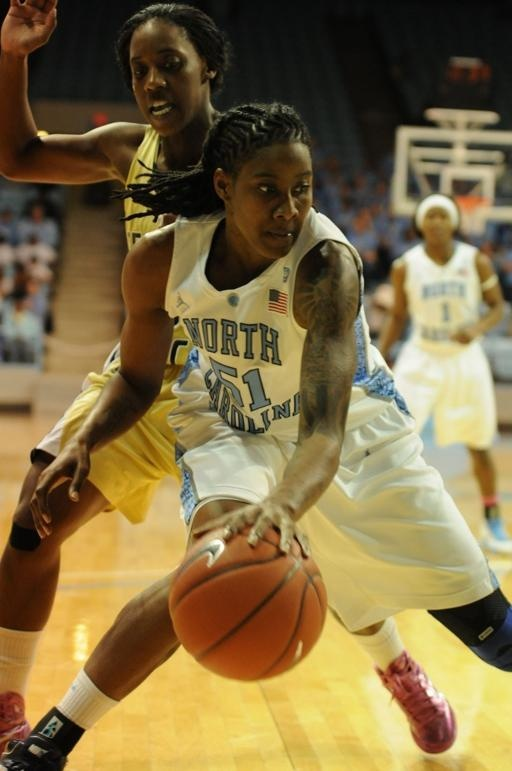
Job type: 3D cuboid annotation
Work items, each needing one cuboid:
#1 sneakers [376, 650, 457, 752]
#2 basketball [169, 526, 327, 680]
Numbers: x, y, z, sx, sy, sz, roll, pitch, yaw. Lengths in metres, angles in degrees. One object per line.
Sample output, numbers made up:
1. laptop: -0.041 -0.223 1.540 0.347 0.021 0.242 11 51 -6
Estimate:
1. sneakers: 0.363 0.714 1.693 0.111 0.098 0.267 -34 51 -1
2. basketball: -0.017 0.302 0.994 0.227 0.177 0.123 2 1 5
